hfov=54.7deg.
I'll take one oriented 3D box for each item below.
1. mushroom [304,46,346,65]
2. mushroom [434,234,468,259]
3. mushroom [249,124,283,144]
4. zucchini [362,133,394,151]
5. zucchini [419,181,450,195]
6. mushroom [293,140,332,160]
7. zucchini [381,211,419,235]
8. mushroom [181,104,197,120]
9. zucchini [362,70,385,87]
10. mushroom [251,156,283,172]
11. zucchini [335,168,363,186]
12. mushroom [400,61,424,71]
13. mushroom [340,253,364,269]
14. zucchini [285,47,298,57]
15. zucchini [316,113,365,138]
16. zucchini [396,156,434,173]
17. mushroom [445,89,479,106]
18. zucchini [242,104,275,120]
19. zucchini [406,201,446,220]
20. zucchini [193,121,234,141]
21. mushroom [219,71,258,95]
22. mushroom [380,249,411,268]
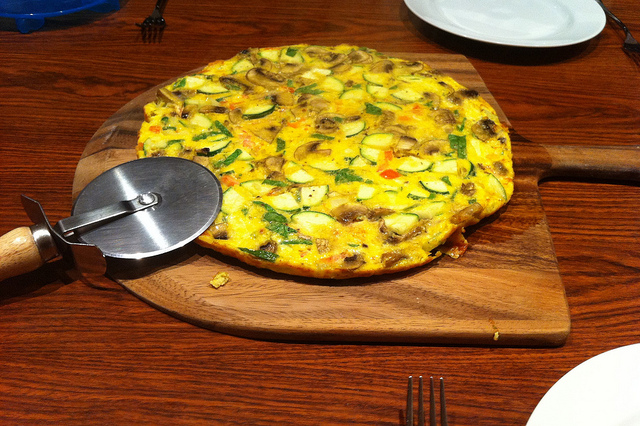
[{"bbox_3d":[0.023,-0.751,2.961,0.238,0.037,0.080,6,48,15],"label":"mushroom"},{"bbox_3d":[0.525,0.130,2.355,0.122,0.043,0.091,-36,63,-23],"label":"mushroom"},{"bbox_3d":[-0.223,-0.339,2.639,0.146,0.031,0.107,24,47,27],"label":"mushroom"},{"bbox_3d":[0.241,-0.303,2.591,0.125,0.025,0.104,-29,45,-28],"label":"zucchini"},{"bbox_3d":[0.451,-0.100,2.447,0.106,0.008,0.059,19,38,21],"label":"zucchini"},{"bbox_3d":[-0.041,-0.262,2.555,0.172,0.025,0.070,-13,49,-13],"label":"mushroom"},{"bbox_3d":[0.297,0.037,2.339,0.144,0.025,0.102,21,53,22],"label":"zucchini"},{"bbox_3d":[-0.574,-0.438,2.700,0.091,0.020,0.059,12,60,1],"label":"mushroom"},{"bbox_3d":[0.246,-0.615,2.848,0.143,0.010,0.062,12,51,2],"label":"zucchini"},{"bbox_3d":[-0.224,-0.201,2.525,0.135,0.018,0.061,10,42,7],"label":"mushroom"},{"bbox_3d":[0.109,-0.144,2.468,0.113,0.020,0.078,-9,31,-21],"label":"zucchini"},{"bbox_3d":[0.440,-0.694,2.918,0.128,0.020,0.043,6,40,8],"label":"mushroom"},{"bbox_3d":[0.109,0.173,2.247,0.093,0.016,0.045,-6,54,-2],"label":"mushroom"},{"bbox_3d":[-0.144,-0.776,2.991,0.067,0.014,0.057,30,60,19],"label":"zucchini"},{"bbox_3d":[0.061,-0.377,2.664,0.250,0.020,0.103,13,41,7],"label":"zucchini"},{"bbox_3d":[0.395,-0.194,2.494,0.118,0.008,0.077,15,45,18],"label":"zucchini"},{"bbox_3d":[0.626,-0.519,2.768,0.170,0.024,0.079,-17,49,-19],"label":"mushroom"},{"bbox_3d":[-0.276,-0.438,2.690,0.104,0.018,0.100,17,32,32],"label":"zucchini"},{"bbox_3d":[0.433,0.001,2.401,0.208,0.033,0.059,-7,51,1],"label":"zucchini"},{"bbox_3d":[-0.452,-0.344,2.647,0.148,0.032,0.101,-24,49,-5],"label":"zucchini"},{"bbox_3d":[-0.361,-0.593,2.834,0.244,0.035,0.104,8,42,4],"label":"mushroom"},{"bbox_3d":[0.265,0.165,2.273,0.121,0.026,0.063,-29,60,-21],"label":"mushroom"}]
